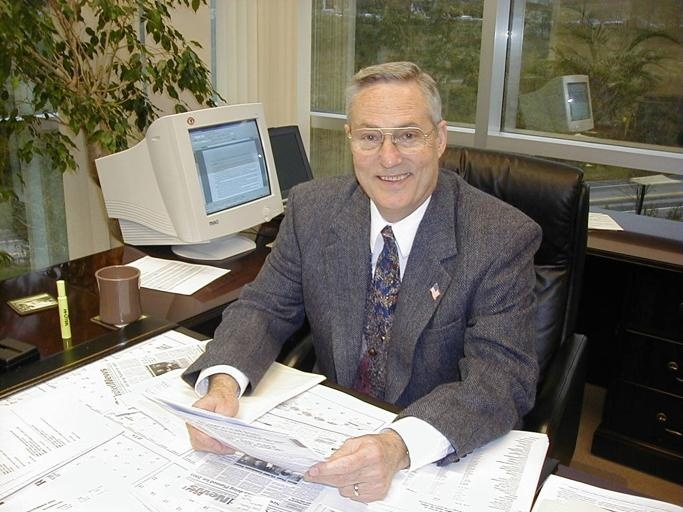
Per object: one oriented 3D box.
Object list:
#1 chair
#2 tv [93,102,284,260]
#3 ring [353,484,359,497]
[{"bbox_3d":[0.264,-0.026,1.816,0.834,1.198,0.987,7,17,19],"label":"chair"},{"bbox_3d":[-0.731,-0.367,2.238,0.703,0.673,0.738,12,23,22],"label":"tv"},{"bbox_3d":[0.027,0.443,0.913,0.011,0.018,0.016,-2,-23,12],"label":"ring"}]
